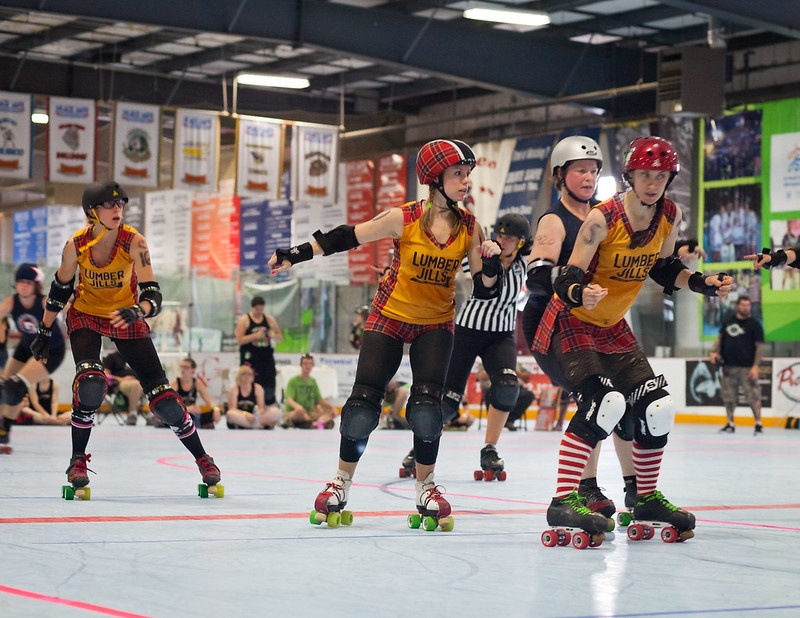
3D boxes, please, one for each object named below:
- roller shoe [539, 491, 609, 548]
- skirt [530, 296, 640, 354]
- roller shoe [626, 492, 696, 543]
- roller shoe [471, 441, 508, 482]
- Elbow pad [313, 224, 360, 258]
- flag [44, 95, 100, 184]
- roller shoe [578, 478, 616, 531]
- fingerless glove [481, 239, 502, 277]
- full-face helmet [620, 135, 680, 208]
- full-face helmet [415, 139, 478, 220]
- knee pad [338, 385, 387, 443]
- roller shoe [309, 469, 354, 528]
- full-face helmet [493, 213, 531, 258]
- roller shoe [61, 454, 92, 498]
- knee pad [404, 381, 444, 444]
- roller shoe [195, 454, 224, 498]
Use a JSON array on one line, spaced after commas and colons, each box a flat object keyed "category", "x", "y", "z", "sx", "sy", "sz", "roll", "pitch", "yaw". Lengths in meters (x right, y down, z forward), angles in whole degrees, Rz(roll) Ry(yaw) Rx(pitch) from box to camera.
[{"category": "roller shoe", "x": 1.194, "y": 1.415, "z": 8.260, "sx": 0.465, "sy": 0.333, "sz": 0.297, "roll": -4, "pitch": -5, "yaw": 42}, {"category": "skirt", "x": 1.389, "y": 0.105, "z": 8.618, "sx": 0.747, "sy": 0.488, "sz": 0.446, "roll": 4, "pitch": 1, "yaw": 8}, {"category": "roller shoe", "x": 1.798, "y": 1.424, "z": 8.454, "sx": 0.273, "sy": 0.342, "sz": 0.470, "roll": 7, "pitch": -7, "yaw": -44}, {"category": "roller shoe", "x": 0.813, "y": 1.402, "z": 11.189, "sx": 0.185, "sy": 0.272, "sz": 0.384, "roll": 2, "pitch": -9, "yaw": -14}, {"category": "Elbow pad", "x": -0.445, "y": -0.479, "z": 8.893, "sx": 0.240, "sy": 0.111, "sz": 0.241, "roll": -19, "pitch": -26, "yaw": 10}, {"category": "flag", "x": -5.426, "y": -2.686, "z": 20.264, "sx": 0.754, "sy": 1.444, "sz": 0.125, "roll": 2, "pitch": -15, "yaw": -16}, {"category": "roller shoe", "x": 1.394, "y": 1.346, "z": 8.900, "sx": 0.151, "sy": 0.244, "sz": 0.450, "roll": 2, "pitch": 2, "yaw": -23}, {"category": "fingerless glove", "x": 0.637, "y": -0.344, "z": 8.646, "sx": 0.171, "sy": 0.237, "sz": 0.109, "roll": 0, "pitch": 6, "yaw": -18}, {"category": "full-face helmet", "x": 1.727, "y": -0.967, "z": 8.492, "sx": 0.293, "sy": 0.368, "sz": 0.389, "roll": 4, "pitch": -10, "yaw": -4}, {"category": "full-face helmet", "x": 0.348, "y": -0.957, "z": 8.971, "sx": 0.440, "sy": 0.589, "sz": 0.414, "roll": -9, "pitch": 8, "yaw": 2}, {"category": "knee pad", "x": -0.276, "y": 0.720, "z": 8.672, "sx": 0.275, "sy": 0.395, "sz": 0.164, "roll": 13, "pitch": 3, "yaw": 1}, {"category": "roller shoe", "x": -0.478, "y": 1.354, "z": 8.691, "sx": 0.227, "sy": 0.378, "sz": 0.387, "roll": 0, "pitch": -9, "yaw": 26}, {"category": "full-face helmet", "x": 0.965, "y": -0.639, "z": 10.904, "sx": 0.306, "sy": 0.383, "sz": 0.391, "roll": 7, "pitch": 3, "yaw": 9}, {"category": "roller shoe", "x": -2.593, "y": 1.321, "z": 9.892, "sx": 0.205, "sy": 0.341, "sz": 0.590, "roll": 12, "pitch": -5, "yaw": -21}, {"category": "knee pad", "x": 0.172, "y": 0.722, "z": 8.667, "sx": 0.264, "sy": 0.384, "sz": 0.138, "roll": 3, "pitch": 7, "yaw": 19}, {"category": "roller shoe", "x": -1.566, "y": 1.316, "z": 9.988, "sx": 0.198, "sy": 0.317, "sz": 0.591, "roll": 6, "pitch": -1, "yaw": -15}]
